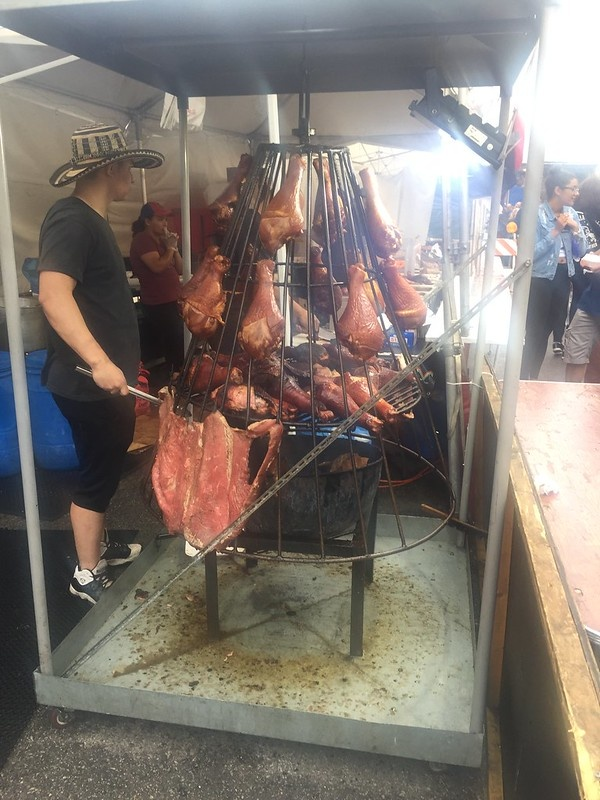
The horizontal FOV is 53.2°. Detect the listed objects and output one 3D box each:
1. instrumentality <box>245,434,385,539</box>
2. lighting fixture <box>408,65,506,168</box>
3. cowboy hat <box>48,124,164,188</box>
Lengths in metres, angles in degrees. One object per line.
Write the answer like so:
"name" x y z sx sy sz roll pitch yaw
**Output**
"instrumentality" 0.048 0.302 2.070 0.482 0.384 0.517 -1 17 -12
"lighting fixture" 0.443 -0.812 1.729 0.316 0.267 0.192 12 20 27
"cowboy hat" -0.803 -1.022 2.473 0.464 0.204 0.413 -17 30 6
